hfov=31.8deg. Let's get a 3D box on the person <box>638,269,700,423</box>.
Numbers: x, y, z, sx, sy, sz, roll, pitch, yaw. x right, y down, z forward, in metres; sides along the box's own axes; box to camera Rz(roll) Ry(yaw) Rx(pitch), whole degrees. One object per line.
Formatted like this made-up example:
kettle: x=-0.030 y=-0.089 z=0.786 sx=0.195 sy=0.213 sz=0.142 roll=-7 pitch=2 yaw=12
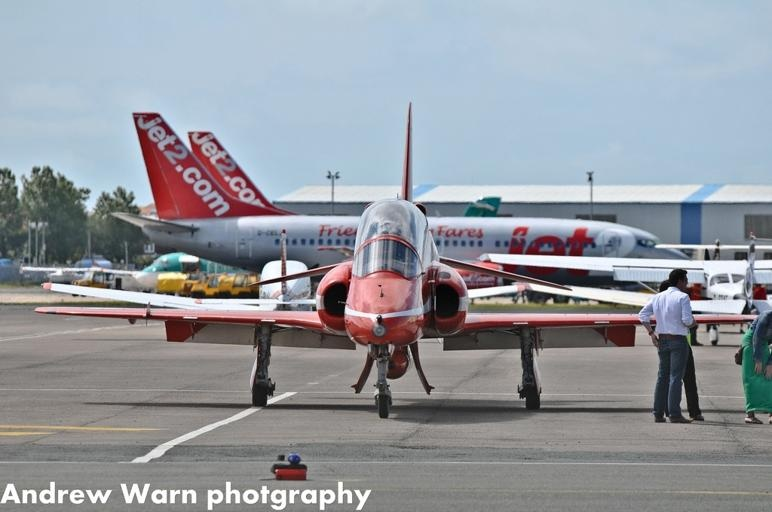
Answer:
person: x=7.542 y=2.411 z=36.059 sx=1.276 sy=3.989 sz=0.764 roll=0 pitch=1 yaw=20
